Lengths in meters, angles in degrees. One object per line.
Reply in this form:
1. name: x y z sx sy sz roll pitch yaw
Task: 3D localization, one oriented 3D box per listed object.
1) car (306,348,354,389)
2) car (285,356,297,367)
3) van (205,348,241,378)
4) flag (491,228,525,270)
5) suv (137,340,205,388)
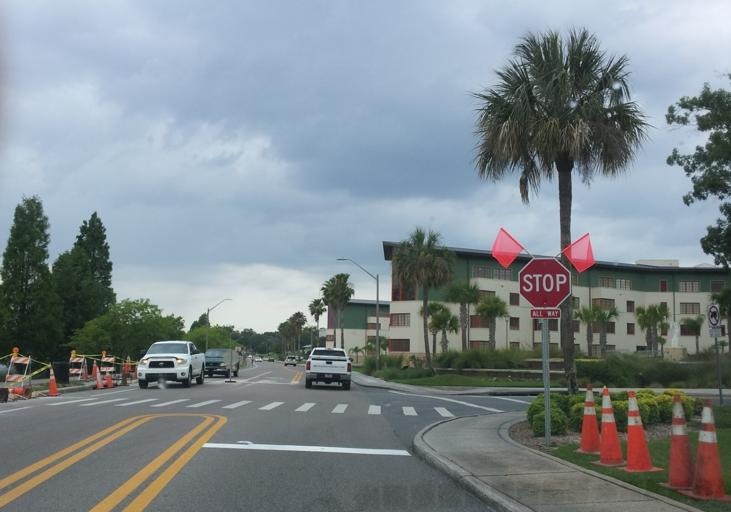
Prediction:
1. car: -1.752 5.398 35.237 2.052 2.017 1.085 -1 -9 -8
2. car: -11.652 16.545 115.722 1.115 1.060 2.700 0 -2 -7
3. van: -9.259 6.751 47.746 1.788 1.652 3.218 -2 -14 2
4. flag: 4.069 -0.426 21.041 0.695 1.183 0.428 -16 -10 -37
5. suv: -8.776 5.014 34.604 1.557 1.257 3.337 -1 -13 0
